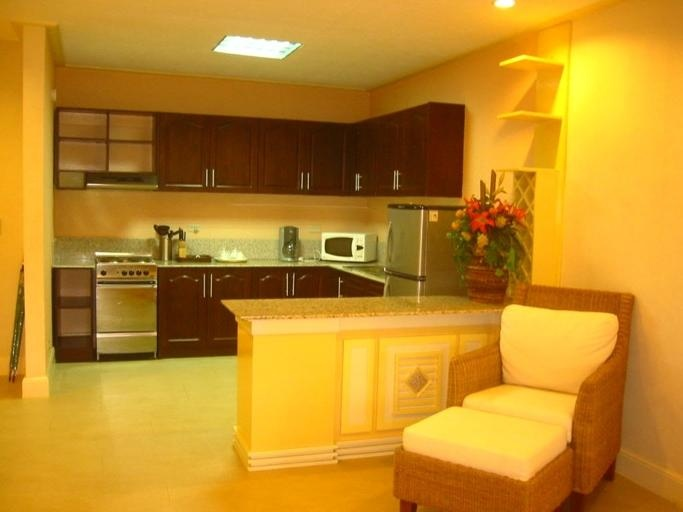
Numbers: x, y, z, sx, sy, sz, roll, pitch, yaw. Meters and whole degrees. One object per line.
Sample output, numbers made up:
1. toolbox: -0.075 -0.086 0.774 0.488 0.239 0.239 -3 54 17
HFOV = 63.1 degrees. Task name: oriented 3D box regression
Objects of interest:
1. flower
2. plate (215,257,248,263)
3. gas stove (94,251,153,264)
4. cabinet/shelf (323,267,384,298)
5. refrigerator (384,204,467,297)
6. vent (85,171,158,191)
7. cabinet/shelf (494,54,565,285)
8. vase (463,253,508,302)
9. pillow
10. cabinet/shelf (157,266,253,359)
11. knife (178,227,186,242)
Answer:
1. flower: 1.123 -0.172 4.242 0.664 0.805 0.605 -4 8 6
2. plate: -1.284 0.042 6.465 0.366 0.036 0.539 0 6 -12
3. gas stove: -2.351 0.010 6.006 0.557 0.073 0.525 -2 7 -26
4. cabinet/shelf: 0.090 0.354 5.928 0.134 0.351 1.164 -2 7 -26
5. refrigerator: 0.786 0.140 5.146 0.572 1.166 0.660 0 3 -21
6. vent: -2.398 -0.830 6.087 0.752 0.191 0.173 0 6 -11
7. cabinet/shelf: 1.491 -0.631 4.218 0.372 1.510 0.310 2 0 15
8. vase: 1.110 0.165 4.214 0.353 0.356 0.374 6 8 30
9. pillow: 1.379 0.618 3.558 0.278 0.521 0.733 -4 3 -41
10. cabinet/shelf: -1.416 0.682 6.289 1.050 0.979 0.537 -2 -8 10
11. knife: -1.852 -0.246 6.460 0.082 0.156 0.247 0 6 -15
